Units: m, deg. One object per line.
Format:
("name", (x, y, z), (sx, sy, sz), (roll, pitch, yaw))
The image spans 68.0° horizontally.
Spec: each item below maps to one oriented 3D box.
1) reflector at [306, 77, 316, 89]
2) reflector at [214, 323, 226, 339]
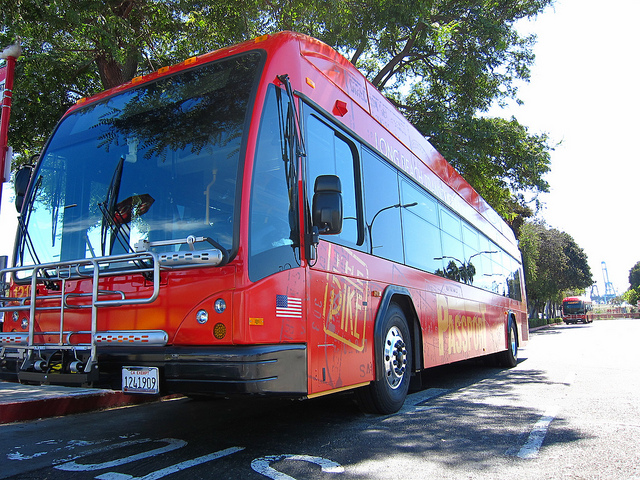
("reflector", (-0.113, -1.855, 5.600), (0.025, 0.052, 0.194), (-31, -16, 14))
("reflector", (-0.953, 0.865, 4.519), (0.123, 0.147, 0.007), (-6, -10, 21))
